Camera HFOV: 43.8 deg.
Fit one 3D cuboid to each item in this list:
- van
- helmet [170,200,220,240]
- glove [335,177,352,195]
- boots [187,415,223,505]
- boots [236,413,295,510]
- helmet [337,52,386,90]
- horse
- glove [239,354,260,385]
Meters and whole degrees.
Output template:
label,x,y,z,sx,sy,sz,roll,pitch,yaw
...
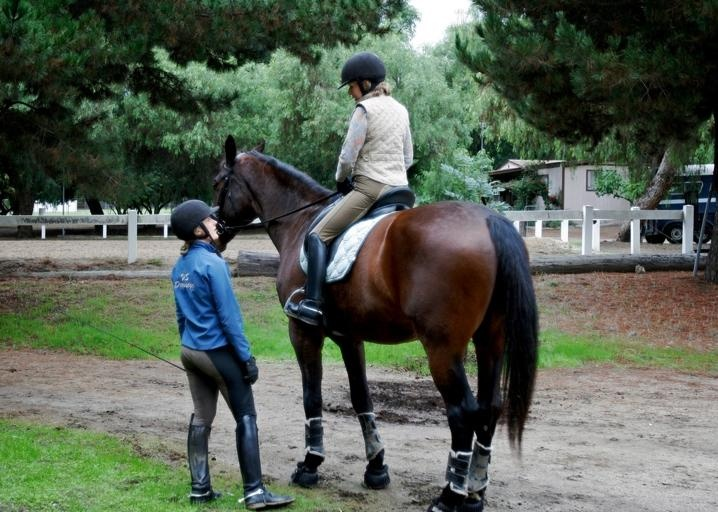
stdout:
label,x,y,z,sx,sy,sz,roll,pitch,yaw
van,11.244,-1.854,30.720,3.649,3.102,2.455,2,1,24
helmet,-2.101,-0.494,11.170,0.394,0.572,0.375,-4,10,-35
glove,-0.199,-0.966,12.105,0.191,0.200,0.202,3,3,-3
boots,-1.941,2.494,11.025,0.368,0.983,0.436,-4,14,-22
boots,-1.179,2.530,10.953,0.659,1.101,0.476,0,13,-5
helmet,0.032,-2.565,12.085,0.600,0.488,0.455,-9,16,-1
horse,0.127,1.116,12.576,6.207,5.905,2.068,0,1,35
glove,-1.361,1.430,11.123,0.190,0.443,0.325,0,13,-5
